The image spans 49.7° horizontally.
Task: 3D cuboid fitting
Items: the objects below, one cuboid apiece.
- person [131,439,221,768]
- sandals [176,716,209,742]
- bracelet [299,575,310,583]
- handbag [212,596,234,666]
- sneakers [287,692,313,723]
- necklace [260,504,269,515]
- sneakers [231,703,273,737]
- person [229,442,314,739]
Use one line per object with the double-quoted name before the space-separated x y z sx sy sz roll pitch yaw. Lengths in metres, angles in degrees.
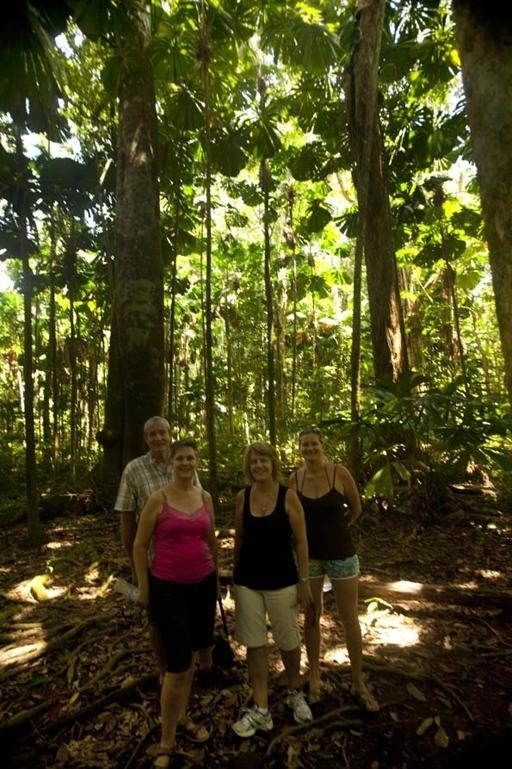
"person" -0.426 1.089 2.977 0.400 1.548 0.588 -6 -7 12
"sandals" -0.328 1.813 2.925 0.151 0.071 0.074 -5 -6 29
"bracelet" 0.253 1.059 3.003 0.044 0.030 0.020 -8 -8 24
"handbag" -0.209 1.477 3.335 0.110 0.516 0.084 -2 19 -6
"sneakers" 0.237 1.745 3.005 0.081 0.097 0.200 -2 -14 -13
"necklace" 0.045 0.687 3.021 0.039 0.040 0.009 -26 -15 24
"sneakers" -0.006 1.772 2.964 0.242 0.132 0.106 8 -14 -33
"person" 0.061 1.086 3.042 0.414 1.520 0.403 -2 3 -6
